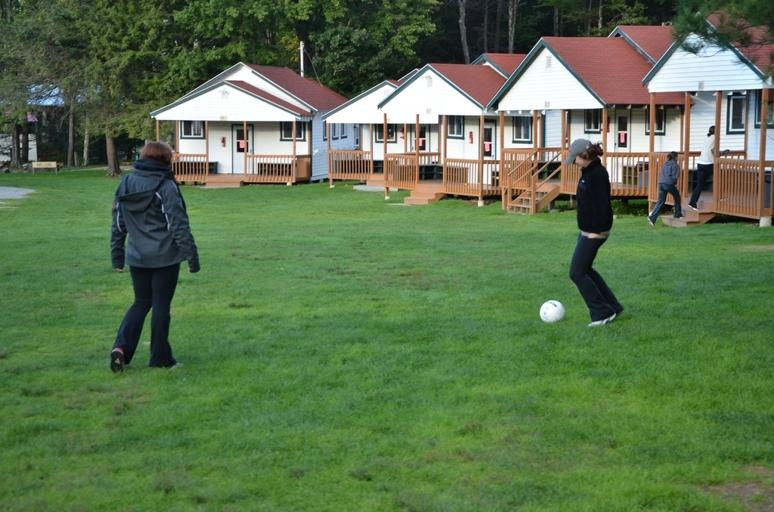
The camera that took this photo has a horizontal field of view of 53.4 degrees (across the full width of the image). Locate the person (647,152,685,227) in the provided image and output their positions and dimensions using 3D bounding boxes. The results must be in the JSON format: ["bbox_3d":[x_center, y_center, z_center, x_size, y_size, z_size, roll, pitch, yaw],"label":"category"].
[{"bbox_3d":[8.230,-1.985,22.638,0.912,2.156,1.351,4,14,19],"label":"person"}]

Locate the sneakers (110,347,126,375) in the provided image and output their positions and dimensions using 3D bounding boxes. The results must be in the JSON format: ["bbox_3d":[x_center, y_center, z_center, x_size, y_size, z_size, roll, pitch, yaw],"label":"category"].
[{"bbox_3d":[-3.644,1.428,10.352,0.168,0.371,0.168,2,6,3],"label":"sneakers"}]

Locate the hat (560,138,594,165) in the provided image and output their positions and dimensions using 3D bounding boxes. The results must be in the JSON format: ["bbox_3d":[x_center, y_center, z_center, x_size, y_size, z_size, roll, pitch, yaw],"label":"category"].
[{"bbox_3d":[2.765,-1.485,11.079,0.339,0.360,0.541,2,14,12],"label":"hat"}]

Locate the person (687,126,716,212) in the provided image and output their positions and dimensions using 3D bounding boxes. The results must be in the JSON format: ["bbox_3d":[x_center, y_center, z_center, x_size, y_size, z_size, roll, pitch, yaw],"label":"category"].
[{"bbox_3d":[9.222,-2.602,22.486,0.605,2.389,1.223,5,14,22],"label":"person"}]

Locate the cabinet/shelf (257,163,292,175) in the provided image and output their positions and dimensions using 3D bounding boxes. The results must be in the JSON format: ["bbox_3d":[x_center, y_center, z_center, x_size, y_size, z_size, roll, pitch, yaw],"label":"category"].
[{"bbox_3d":[-6.413,-4.896,43.473,1.911,0.649,0.368,5,14,19],"label":"cabinet/shelf"}]

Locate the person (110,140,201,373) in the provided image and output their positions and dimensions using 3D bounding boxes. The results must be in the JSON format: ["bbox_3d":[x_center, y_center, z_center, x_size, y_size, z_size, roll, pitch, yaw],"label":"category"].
[{"bbox_3d":[-3.126,0.064,10.245,1.284,3.063,0.812,4,14,21],"label":"person"}]

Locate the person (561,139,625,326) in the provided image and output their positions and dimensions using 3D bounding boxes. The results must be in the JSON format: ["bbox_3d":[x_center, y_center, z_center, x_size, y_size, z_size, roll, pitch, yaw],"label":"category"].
[{"bbox_3d":[3.031,-0.299,11.353,0.696,2.801,0.843,6,14,27],"label":"person"}]

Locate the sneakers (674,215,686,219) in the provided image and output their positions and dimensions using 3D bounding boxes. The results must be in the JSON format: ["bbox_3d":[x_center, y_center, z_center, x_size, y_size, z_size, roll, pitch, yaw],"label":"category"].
[{"bbox_3d":[8.446,-1.105,22.174,0.274,0.127,0.109,-2,6,-20],"label":"sneakers"}]

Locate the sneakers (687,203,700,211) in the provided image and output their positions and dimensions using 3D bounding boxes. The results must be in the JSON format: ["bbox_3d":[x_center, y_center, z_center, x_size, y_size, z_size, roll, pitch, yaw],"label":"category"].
[{"bbox_3d":[8.916,-1.392,22.449,0.294,0.117,0.100,33,-5,22],"label":"sneakers"}]

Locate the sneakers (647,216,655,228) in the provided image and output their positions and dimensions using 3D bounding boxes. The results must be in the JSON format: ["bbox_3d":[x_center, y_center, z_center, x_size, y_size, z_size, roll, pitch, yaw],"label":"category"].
[{"bbox_3d":[7.774,-1.017,22.619,0.162,0.375,0.137,-25,34,1],"label":"sneakers"}]

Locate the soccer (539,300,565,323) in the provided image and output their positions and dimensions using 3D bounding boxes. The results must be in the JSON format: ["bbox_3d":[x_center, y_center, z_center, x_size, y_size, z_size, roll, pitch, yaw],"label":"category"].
[{"bbox_3d":[2.591,0.890,12.007,0.282,0.286,0.360,-1,4,1],"label":"soccer"}]
